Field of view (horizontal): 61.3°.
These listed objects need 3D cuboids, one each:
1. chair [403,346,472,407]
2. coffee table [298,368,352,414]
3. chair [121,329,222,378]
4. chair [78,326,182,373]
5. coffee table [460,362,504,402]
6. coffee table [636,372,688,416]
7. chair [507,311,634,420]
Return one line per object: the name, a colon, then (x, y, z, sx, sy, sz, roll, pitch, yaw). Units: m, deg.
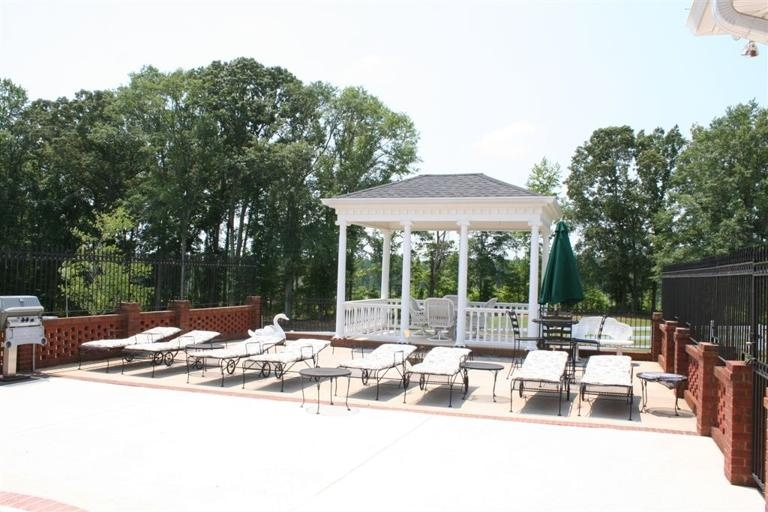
chair: (1.419, 3.083, 17.067, 1.599, 1.192, 2.539, 2, 10, 8)
coffee table: (-1.360, 3.394, 16.441, 1.095, 0.699, 1.115, 1, -10, -4)
chair: (-5.996, 2.646, 18.677, 1.322, 0.799, 2.244, -5, -3, 35)
chair: (-7.129, 2.613, 18.720, 1.280, 0.815, 2.369, -2, -3, 33)
coffee table: (2.517, 3.313, 16.883, 1.265, 0.969, 1.297, -1, -14, 21)
coffee table: (6.872, 3.361, 16.085, 1.253, 0.918, 1.211, 2, -4, -37)
chair: (4.609, 2.844, 17.578, 1.993, 1.656, 3.777, 1, 0, 13)
